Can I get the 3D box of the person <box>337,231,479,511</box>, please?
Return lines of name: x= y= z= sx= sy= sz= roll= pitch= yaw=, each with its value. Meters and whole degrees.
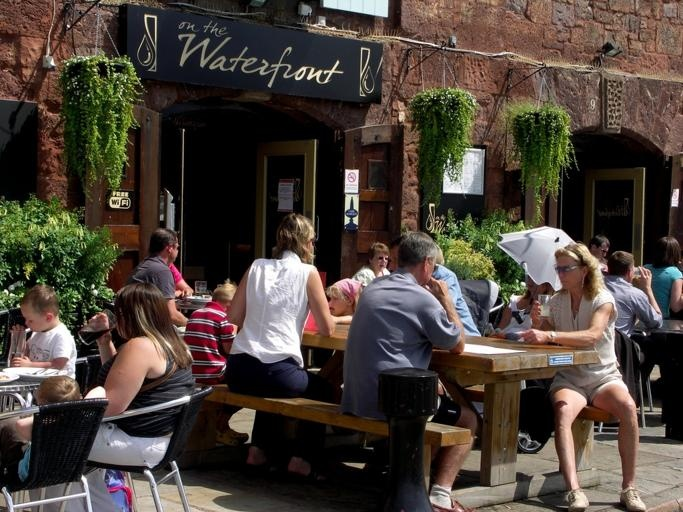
person: x=0.459 y=0.769 z=5.193 sx=0.892 sy=1.778 sz=0.634 roll=1 pitch=0 yaw=-6

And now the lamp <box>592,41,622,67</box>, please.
lamp: x=4.584 y=-3.400 z=13.155 sx=0.510 sy=0.428 sz=0.411 roll=1 pitch=1 yaw=-36

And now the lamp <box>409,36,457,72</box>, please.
lamp: x=1.319 y=-3.060 z=11.713 sx=0.892 sy=0.475 sz=0.379 roll=-1 pitch=4 yaw=-44

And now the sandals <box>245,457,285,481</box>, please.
sandals: x=-0.570 y=1.646 z=5.938 sx=0.345 sy=0.166 sz=0.129 roll=-1 pitch=3 yaw=-31

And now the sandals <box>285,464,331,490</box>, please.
sandals: x=-0.235 y=1.671 z=5.864 sx=0.361 sy=0.146 sz=0.147 roll=12 pitch=-31 yaw=0

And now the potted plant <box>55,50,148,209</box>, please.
potted plant: x=-2.742 y=-1.492 z=8.724 sx=0.837 sy=1.306 sz=0.533 roll=1 pitch=0 yaw=-13

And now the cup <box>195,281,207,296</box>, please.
cup: x=-1.606 y=0.362 z=8.844 sx=0.128 sy=0.155 sz=0.141 roll=2 pitch=2 yaw=18

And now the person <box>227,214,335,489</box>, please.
person: x=-0.418 y=0.696 z=5.888 sx=0.659 sy=1.961 sz=0.948 roll=4 pitch=-4 yaw=32

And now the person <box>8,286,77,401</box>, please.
person: x=-2.146 y=0.595 z=5.592 sx=0.401 sy=0.821 sz=0.420 roll=6 pitch=12 yaw=-6
